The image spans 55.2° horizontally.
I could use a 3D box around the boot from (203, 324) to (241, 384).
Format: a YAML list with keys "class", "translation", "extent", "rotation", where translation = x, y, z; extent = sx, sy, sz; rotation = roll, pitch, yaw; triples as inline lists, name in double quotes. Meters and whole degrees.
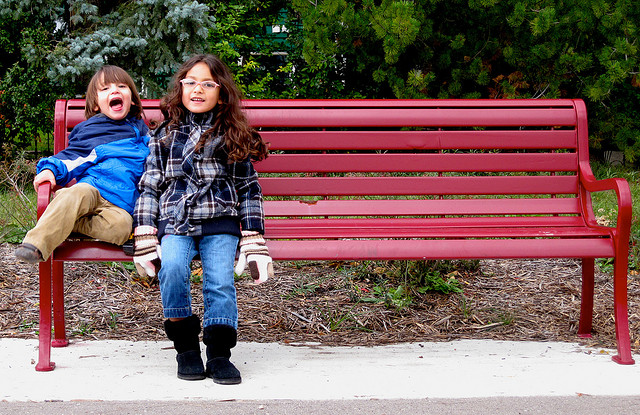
- class: "boot"
  translation: [-0.589, 0.875, 3.671]
  extent: [0.194, 0.338, 0.378]
  rotation: [4, -3, -31]

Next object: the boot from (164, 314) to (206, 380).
- class: "boot"
  translation: [-0.827, 0.832, 3.708]
  extent: [0.225, 0.370, 0.232]
  rotation: [-3, 6, -17]

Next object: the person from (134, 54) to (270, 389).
- class: "person"
  translation: [-0.734, 0.040, 3.746]
  extent: [0.815, 1.986, 0.629]
  rotation: [-2, 6, -10]
